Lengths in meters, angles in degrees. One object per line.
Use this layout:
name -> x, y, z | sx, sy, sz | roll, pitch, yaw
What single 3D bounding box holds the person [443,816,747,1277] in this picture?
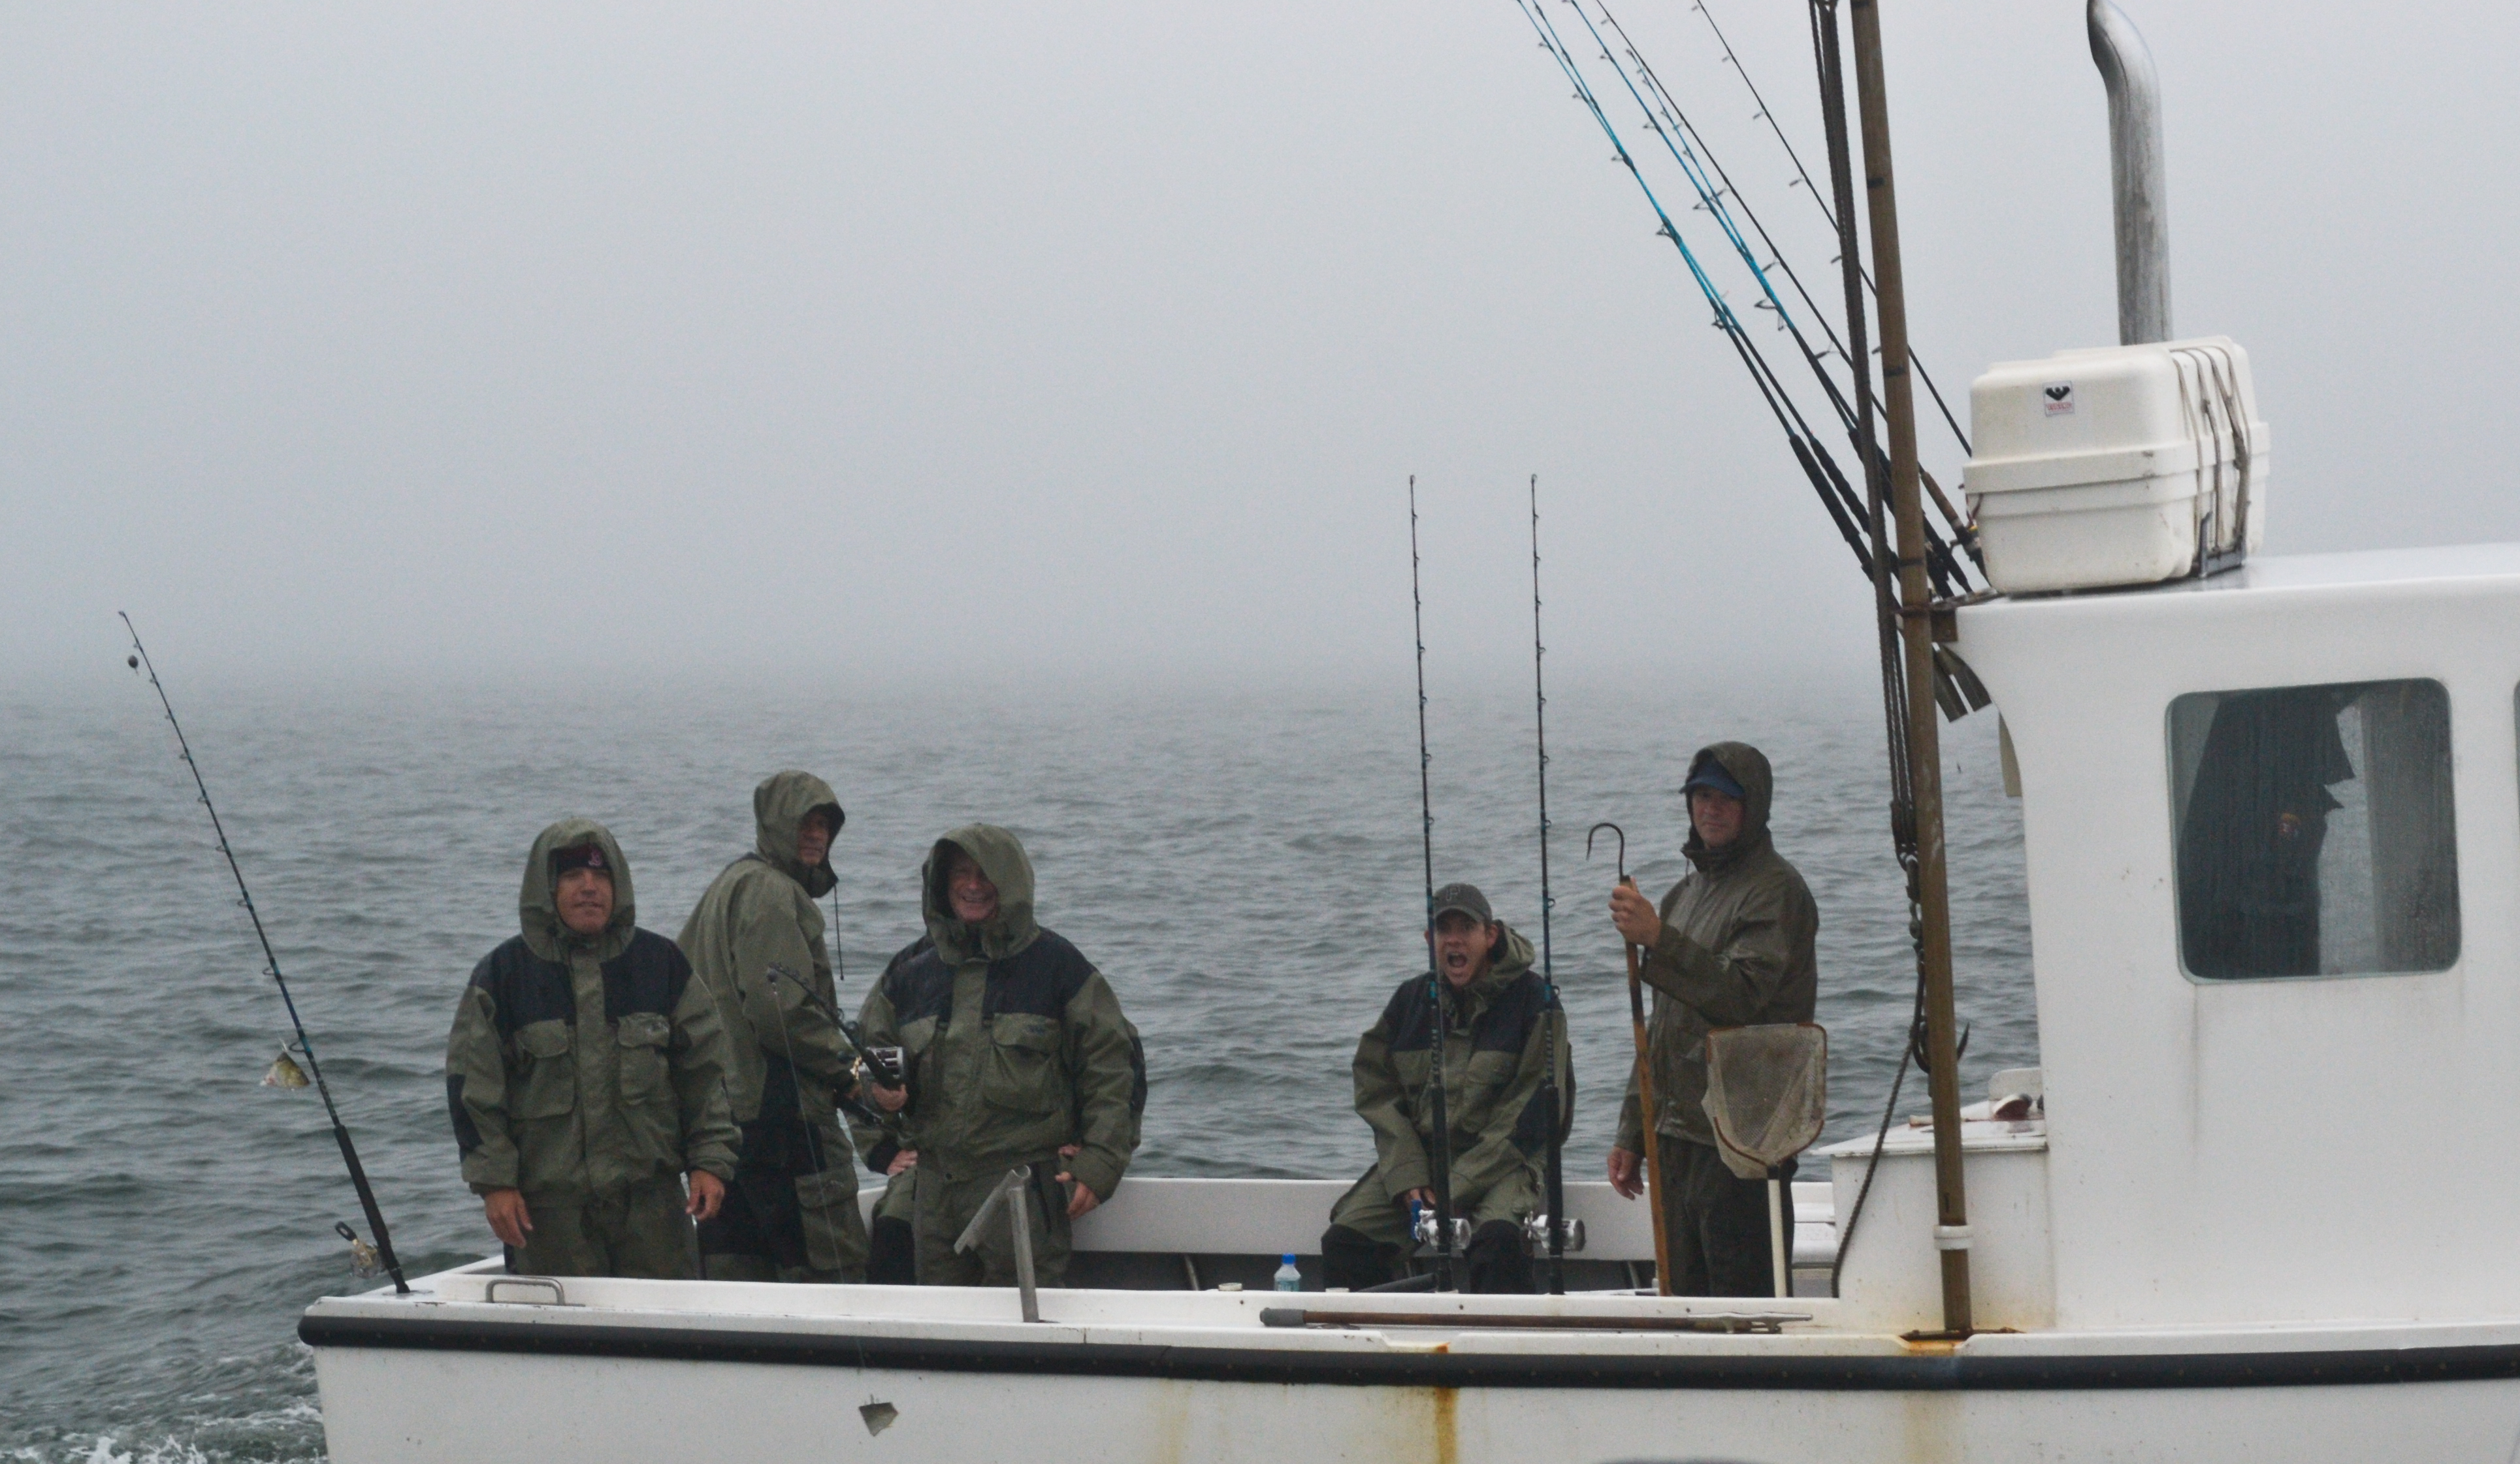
person -> -3.708, 1.570, 21.135 | 1.244, 2.682, 1.222 | 0, -1, -13
